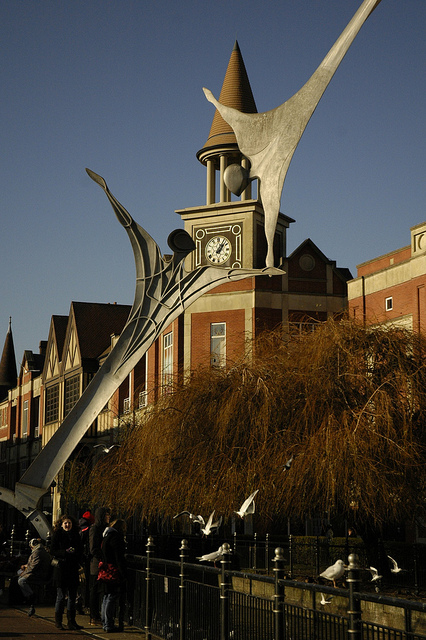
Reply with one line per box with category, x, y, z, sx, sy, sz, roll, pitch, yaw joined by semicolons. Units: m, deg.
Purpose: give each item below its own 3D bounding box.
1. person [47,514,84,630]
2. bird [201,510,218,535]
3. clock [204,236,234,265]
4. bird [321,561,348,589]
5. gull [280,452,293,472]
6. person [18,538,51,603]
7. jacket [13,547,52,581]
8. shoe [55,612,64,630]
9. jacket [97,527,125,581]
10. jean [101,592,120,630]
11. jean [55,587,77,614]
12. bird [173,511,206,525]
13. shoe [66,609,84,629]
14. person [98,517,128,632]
person;-2.161;3.694;15.460;0.478;1.592;0.764;3;-11;-10
bird;-0.076;3.393;17.872;0.308;0.340;0.439;-6;-37;10
clock;0.222;-2.494;37.791;0.854;1.049;0.270;-7;-12;29
bird;1.672;3.396;14.272;0.254;0.233;0.478;-5;-14;26
gull;1.224;2.330;17.052;0.090;0.272;0.089;15;10;-2
person;-2.783;3.929;16.472;0.467;0.989;0.691;3;-12;-11
jacket;-2.740;3.773;16.257;0.443;0.542;0.413;15;-45;-4
shoe;-2.181;4.307;15.056;0.106;0.228;0.193;5;-12;-20
jacket;-1.333;3.142;13.936;0.296;0.861;0.522;8;-21;-32
jean;-1.393;3.955;14.285;0.198;0.508;0.768;2;-12;-7
jean;-2.140;4.078;15.324;0.273;0.350;0.470;3;-12;-8
bird;-0.392;3.548;18.815;0.505;0.244;1.641;2;-13;-6
shoe;-1.972;4.293;15.091;0.219;0.263;0.196;2;-12;-6
person;-1.362;3.441;14.131;0.345;1.504;1.204;2;-12;-4
